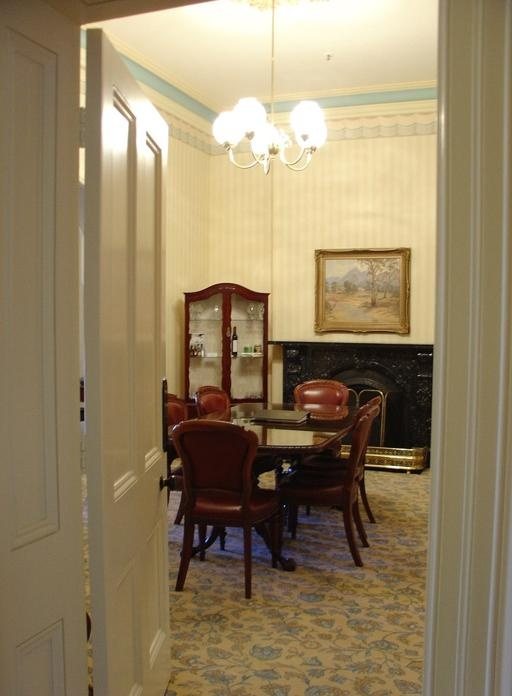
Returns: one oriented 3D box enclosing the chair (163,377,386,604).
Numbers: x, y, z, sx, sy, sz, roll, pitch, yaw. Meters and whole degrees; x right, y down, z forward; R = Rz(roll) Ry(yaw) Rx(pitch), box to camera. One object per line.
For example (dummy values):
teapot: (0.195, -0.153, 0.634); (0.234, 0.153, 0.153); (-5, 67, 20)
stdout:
chair: (0.057, 0.834, 3.448); (1.300, 0.958, 0.715); (0, 1, -43)

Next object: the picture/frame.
picture/frame: (1.269, -0.644, 6.665); (0.975, 0.961, 0.100); (0, 2, 21)
